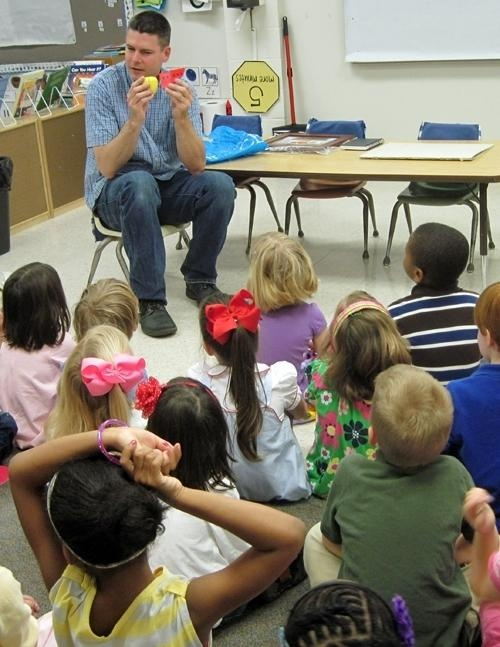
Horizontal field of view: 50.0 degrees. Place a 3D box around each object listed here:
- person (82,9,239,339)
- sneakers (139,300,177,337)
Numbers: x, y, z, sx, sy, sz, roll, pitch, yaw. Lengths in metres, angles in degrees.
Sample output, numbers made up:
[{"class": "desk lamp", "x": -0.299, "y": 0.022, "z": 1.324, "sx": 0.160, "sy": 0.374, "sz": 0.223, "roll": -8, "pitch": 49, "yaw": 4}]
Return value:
[{"class": "person", "x": -0.490, "y": -0.826, "z": 2.889, "sx": 0.789, "sy": 1.606, "sz": 0.779, "roll": -9, "pitch": 22, "yaw": -15}, {"class": "sneakers", "x": -0.489, "y": -0.026, "z": 2.827, "sx": 0.162, "sy": 0.156, "sz": 0.210, "roll": -11, "pitch": 22, "yaw": -20}]
